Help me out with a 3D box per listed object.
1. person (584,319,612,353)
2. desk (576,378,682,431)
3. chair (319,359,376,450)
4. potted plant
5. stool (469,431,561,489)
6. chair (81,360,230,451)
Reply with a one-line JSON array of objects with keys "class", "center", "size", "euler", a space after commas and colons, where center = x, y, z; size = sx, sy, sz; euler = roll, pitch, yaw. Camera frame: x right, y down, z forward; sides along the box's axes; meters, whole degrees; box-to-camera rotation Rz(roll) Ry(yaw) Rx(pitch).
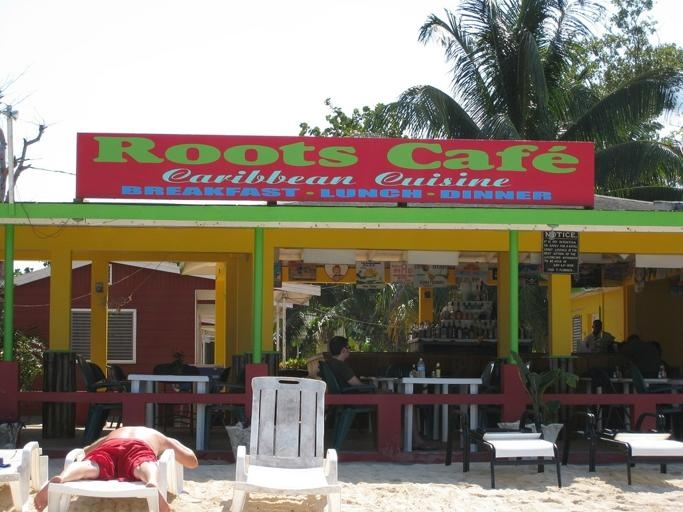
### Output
[{"class": "person", "center": [5.177, 1.662, 20.484], "size": [0.634, 0.852, 0.493], "euler": [-2, -32, 15]}, {"class": "desk", "center": [4.556, 2.239, 16.043], "size": [1.758, 0.729, 2.922], "euler": [-2, -9, 13]}, {"class": "chair", "center": [0.022, 2.291, 15.797], "size": [1.122, 1.648, 1.200], "euler": [-1, -7, -1]}, {"class": "potted plant", "center": [2.954, 2.161, 15.360], "size": [1.252, 1.359, 0.952], "euler": [4, -13, -5]}, {"class": "stool", "center": [2.374, 2.753, 13.826], "size": [1.185, 0.722, 1.211], "euler": [-1, -8, 8]}, {"class": "chair", "center": [-2.457, 2.231, 15.101], "size": [1.229, 1.302, 1.281], "euler": [0, -4, -5]}]
